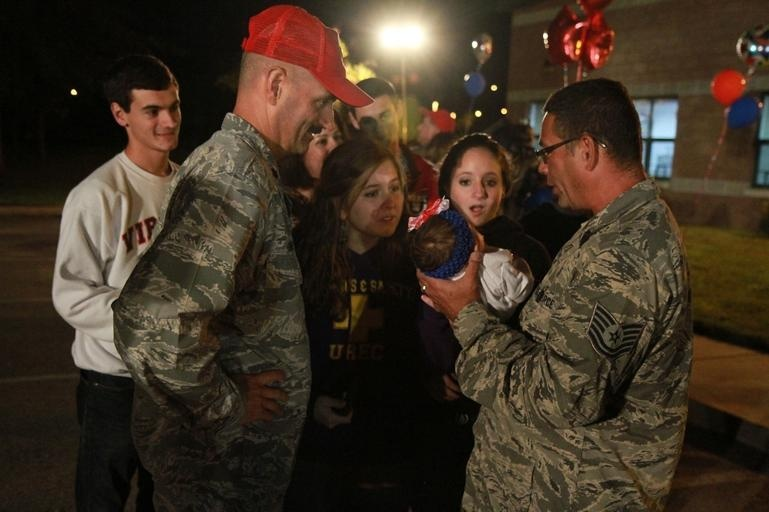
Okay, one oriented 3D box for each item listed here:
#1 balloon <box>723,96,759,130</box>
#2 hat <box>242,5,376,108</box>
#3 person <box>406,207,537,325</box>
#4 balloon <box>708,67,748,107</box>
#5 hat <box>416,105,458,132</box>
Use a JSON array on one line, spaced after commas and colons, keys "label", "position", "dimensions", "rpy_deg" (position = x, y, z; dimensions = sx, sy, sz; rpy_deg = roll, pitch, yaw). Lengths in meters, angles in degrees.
[{"label": "balloon", "position": [3.707, -1.490, 8.014], "dimensions": [0.294, 0.315, 0.261], "rpy_deg": [7, 12, 27]}, {"label": "hat", "position": [-0.521, -1.316, 4.990], "dimensions": [0.814, 0.373, 0.503], "rpy_deg": [18, 21, -10]}, {"label": "person", "position": [0.464, -0.014, 5.598], "dimensions": [0.775, 0.390, 0.952], "rpy_deg": [-21, -11, 14]}, {"label": "balloon", "position": [3.652, -1.821, 8.263], "dimensions": [0.430, 0.459, 0.419], "rpy_deg": [-6, 22, 14]}, {"label": "hat", "position": [0.674, -1.668, 9.631], "dimensions": [0.471, 0.229, 0.294], "rpy_deg": [20, 14, -6]}]
